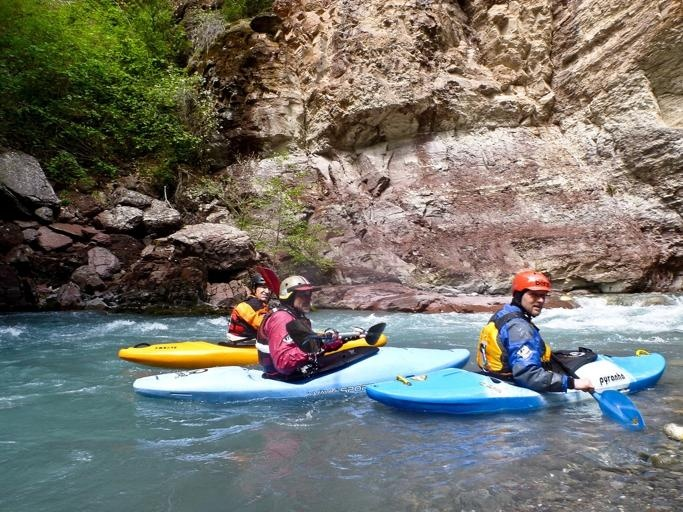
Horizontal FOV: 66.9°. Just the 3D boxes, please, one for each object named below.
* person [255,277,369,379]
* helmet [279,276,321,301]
[{"bbox_3d":[-0.671,1.014,7.266,1.132,1.450,0.619,-12,-2,-9],"label":"person"},{"bbox_3d":[-0.627,0.440,7.220,0.570,0.344,0.271,-8,-1,-2],"label":"helmet"}]
